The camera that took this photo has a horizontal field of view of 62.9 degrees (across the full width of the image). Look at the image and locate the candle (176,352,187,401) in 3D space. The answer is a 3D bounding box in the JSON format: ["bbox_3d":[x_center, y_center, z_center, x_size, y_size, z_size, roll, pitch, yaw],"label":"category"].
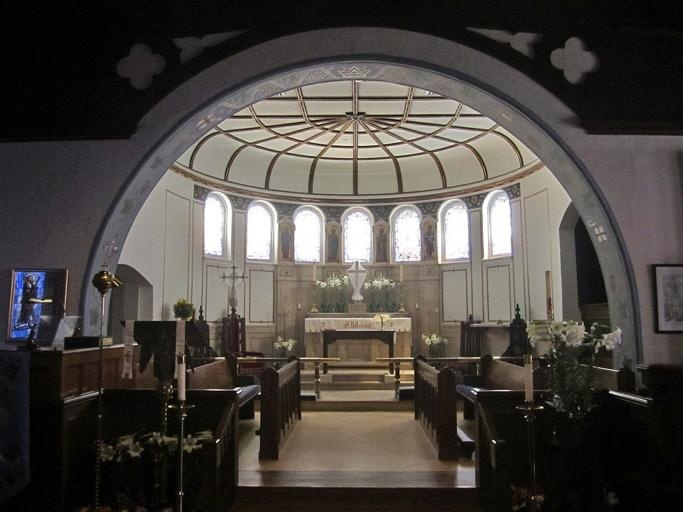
[{"bbox_3d":[-1.430,1.097,5.009,0.052,0.422,0.082,3,-7,-32],"label":"candle"}]
